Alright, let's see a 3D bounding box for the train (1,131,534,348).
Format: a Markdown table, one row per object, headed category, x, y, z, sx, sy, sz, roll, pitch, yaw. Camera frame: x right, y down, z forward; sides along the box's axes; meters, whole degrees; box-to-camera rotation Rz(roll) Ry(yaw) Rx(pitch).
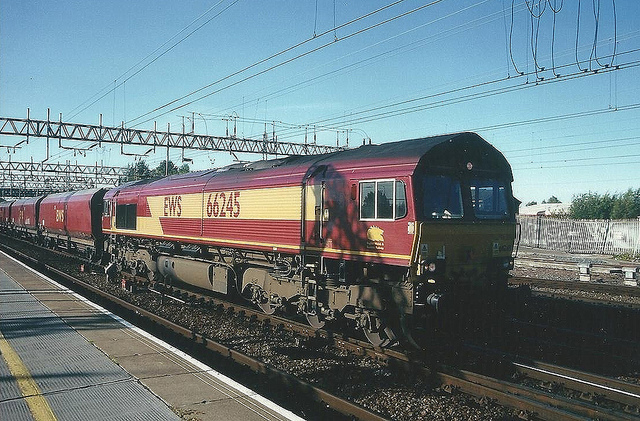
| category | x | y | z | sx | sy | sz | roll | pitch | yaw |
| --- | --- | --- | --- | --- | --- | --- | --- | --- | --- |
| train | -8.476 | 0.875 | 26.665 | 6.851 | 8.021 | 38.366 | 0 | -1 | -38 |
